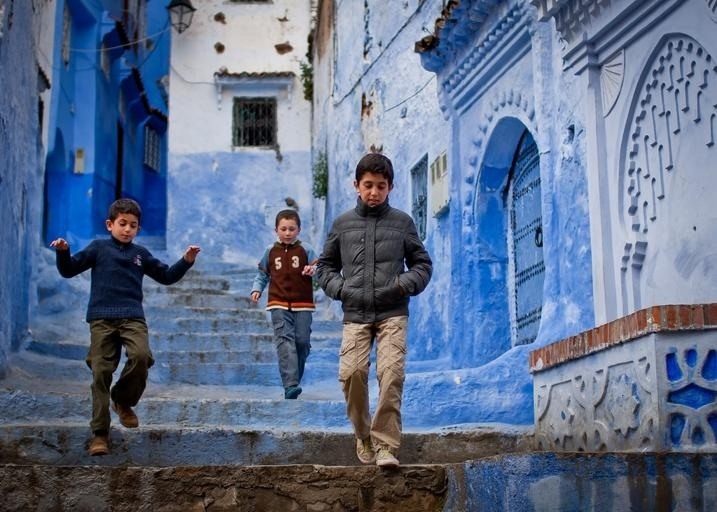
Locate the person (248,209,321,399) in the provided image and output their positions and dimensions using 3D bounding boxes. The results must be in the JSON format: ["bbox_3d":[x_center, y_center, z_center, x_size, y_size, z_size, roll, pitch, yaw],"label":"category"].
[{"bbox_3d":[-0.688,0.417,9.562,0.536,1.699,0.522,3,-5,1],"label":"person"}]

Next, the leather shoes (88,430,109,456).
[{"bbox_3d":[-1.893,1.374,7.673,0.133,0.166,0.165,5,-6,-18],"label":"leather shoes"}]

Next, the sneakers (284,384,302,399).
[{"bbox_3d":[-0.581,1.192,9.304,0.071,0.099,0.204,6,-53,-29],"label":"sneakers"}]

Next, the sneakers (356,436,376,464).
[{"bbox_3d":[0.053,1.338,7.313,0.141,0.227,0.484,1,-10,-3],"label":"sneakers"}]

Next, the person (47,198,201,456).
[{"bbox_3d":[-1.821,0.509,7.983,1.000,1.936,0.619,4,-5,-12],"label":"person"}]

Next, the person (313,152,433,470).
[{"bbox_3d":[0.071,0.364,7.562,0.730,2.205,0.611,-5,-8,32],"label":"person"}]

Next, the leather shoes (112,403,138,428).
[{"bbox_3d":[-1.788,1.190,8.067,0.101,0.142,0.280,-6,18,-37],"label":"leather shoes"}]
